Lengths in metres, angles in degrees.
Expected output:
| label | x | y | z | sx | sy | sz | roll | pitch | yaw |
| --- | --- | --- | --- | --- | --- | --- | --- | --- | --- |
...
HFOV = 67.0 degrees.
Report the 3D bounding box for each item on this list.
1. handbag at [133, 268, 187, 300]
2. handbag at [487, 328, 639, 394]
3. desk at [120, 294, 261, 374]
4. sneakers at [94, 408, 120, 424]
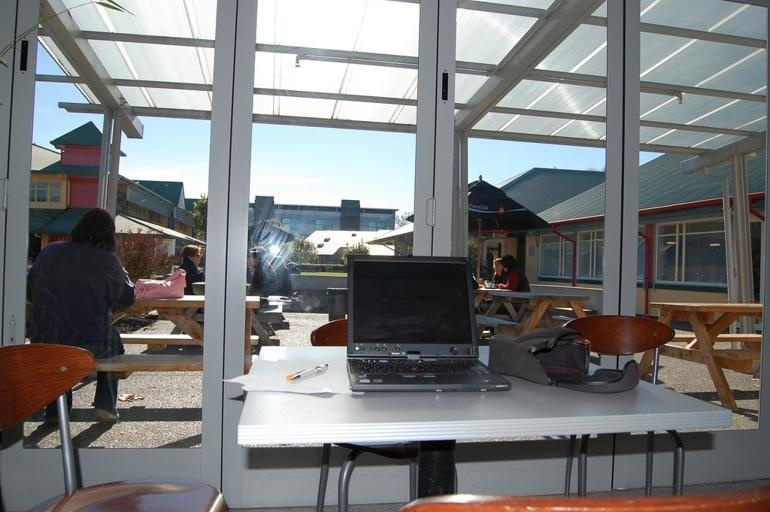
| label | x | y | z | sx | sy | sz | roll | pitch | yaw |
| --- | --- | --- | --- | --- | --- | --- | --- | --- | --- |
| handbag | -1.410 | 0.179 | 3.673 | 0.284 | 0.166 | 0.178 | 3 | -3 | -12 |
| handbag | 0.814 | 0.425 | 2.701 | 0.463 | 0.166 | 0.359 | 0 | -1 | 40 |
| desk | -1.171 | 0.617 | 3.682 | 0.915 | 0.530 | 0.477 | 0 | 3 | -2 |
| sneakers | -1.704 | 1.001 | 3.628 | 0.183 | 0.079 | 0.065 | 8 | 1 | -24 |
